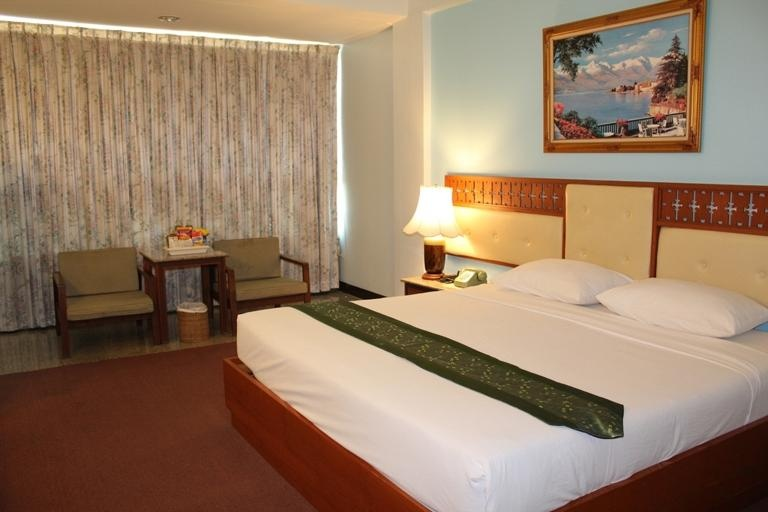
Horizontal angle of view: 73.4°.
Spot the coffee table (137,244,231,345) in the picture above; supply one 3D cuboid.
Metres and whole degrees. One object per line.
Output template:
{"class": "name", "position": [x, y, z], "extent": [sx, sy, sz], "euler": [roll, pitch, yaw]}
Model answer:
{"class": "coffee table", "position": [-2.166, 0.418, 6.127], "extent": [0.723, 0.757, 0.751], "euler": [-15, -25, 1]}

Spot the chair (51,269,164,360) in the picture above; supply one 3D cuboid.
{"class": "chair", "position": [-3.077, 0.624, 5.756], "extent": [1.089, 0.777, 0.832], "euler": [-2, 8, -33]}

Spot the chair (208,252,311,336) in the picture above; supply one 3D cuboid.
{"class": "chair", "position": [-1.564, 0.439, 6.279], "extent": [0.976, 0.826, 1.055], "euler": [-5, 8, -37]}

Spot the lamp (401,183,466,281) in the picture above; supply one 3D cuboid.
{"class": "lamp", "position": [0.553, -0.265, 5.716], "extent": [0.611, 0.975, 0.466], "euler": [2, 14, 10]}

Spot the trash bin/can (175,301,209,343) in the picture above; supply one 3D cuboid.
{"class": "trash bin/can", "position": [-2.166, 0.805, 5.901], "extent": [0.339, 0.391, 0.350], "euler": [-8, -5, -16]}
